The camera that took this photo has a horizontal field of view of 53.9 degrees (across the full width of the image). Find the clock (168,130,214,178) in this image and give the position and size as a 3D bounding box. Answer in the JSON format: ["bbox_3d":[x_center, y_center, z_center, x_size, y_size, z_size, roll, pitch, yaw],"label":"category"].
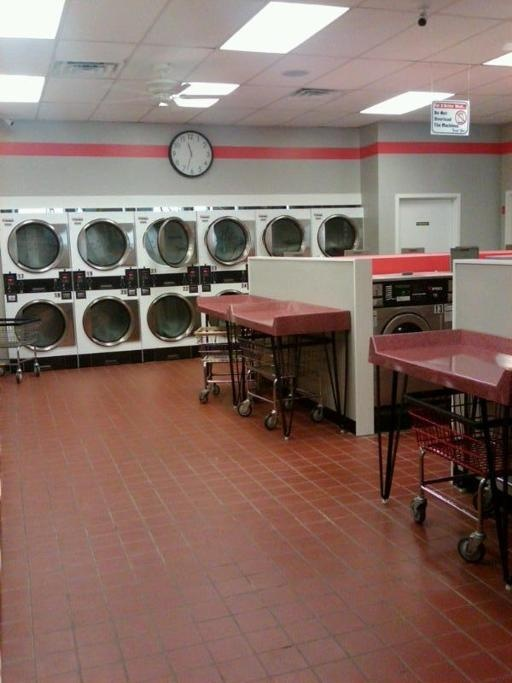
[{"bbox_3d":[-1.001,-2.889,7.792,0.721,0.690,0.113,-7,17,-24],"label":"clock"}]
